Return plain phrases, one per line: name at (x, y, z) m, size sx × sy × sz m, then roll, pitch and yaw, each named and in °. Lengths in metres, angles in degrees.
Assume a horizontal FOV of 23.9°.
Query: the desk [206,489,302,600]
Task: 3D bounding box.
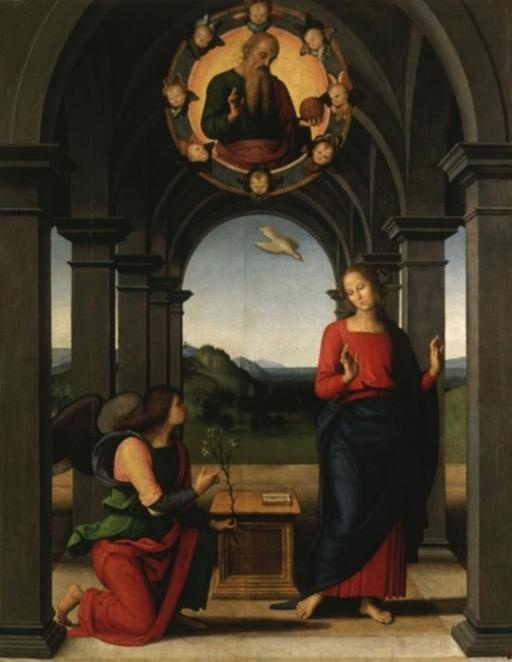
desk at (-0.028, 1.847, 10.427) m, size 0.772 × 0.727 × 0.701 m, roll 0°, pitch 7°, yaw -11°
